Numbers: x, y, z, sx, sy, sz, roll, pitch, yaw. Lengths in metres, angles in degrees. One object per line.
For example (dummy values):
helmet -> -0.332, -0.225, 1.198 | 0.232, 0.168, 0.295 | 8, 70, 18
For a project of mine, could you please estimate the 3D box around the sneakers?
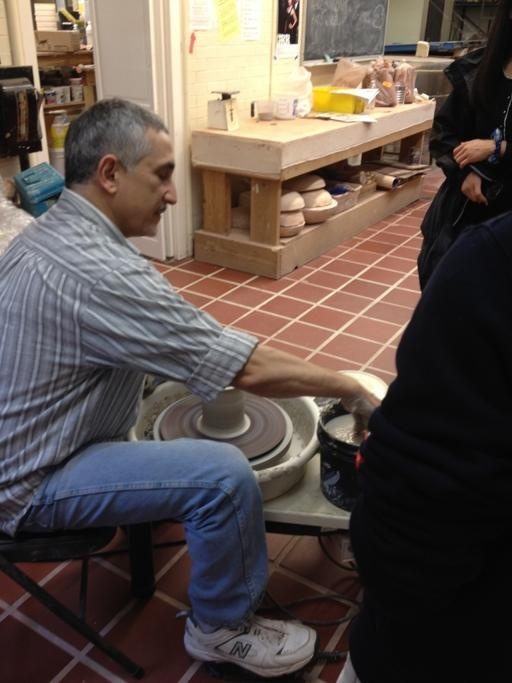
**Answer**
sneakers -> -0.016, 0.819, 1.452 | 0.368, 0.170, 0.156 | 0, 31, 2

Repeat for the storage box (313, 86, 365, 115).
storage box -> 0.766, -2.252, 4.886 | 0.356, 0.155, 0.351 | 11, 32, 17

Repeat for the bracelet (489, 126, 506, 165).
bracelet -> 0.999, -0.816, 2.121 | 0.044, 0.118, 0.092 | 12, 3, -19
